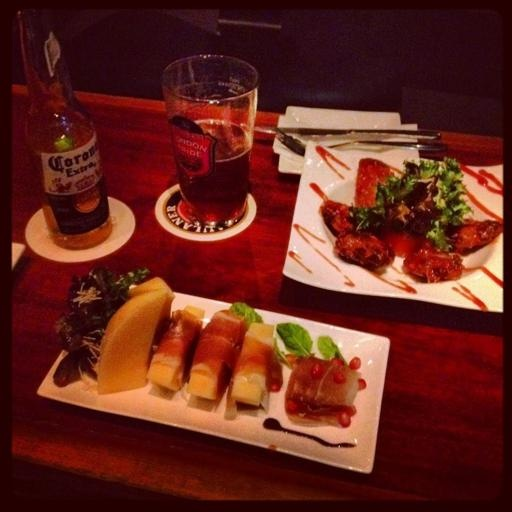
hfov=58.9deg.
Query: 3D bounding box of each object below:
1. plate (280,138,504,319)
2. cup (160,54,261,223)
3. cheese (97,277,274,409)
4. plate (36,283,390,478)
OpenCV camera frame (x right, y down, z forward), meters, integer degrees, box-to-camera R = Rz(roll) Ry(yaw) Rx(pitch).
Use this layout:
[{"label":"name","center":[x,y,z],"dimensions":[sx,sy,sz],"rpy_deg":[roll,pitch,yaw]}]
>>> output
[{"label":"plate","center":[0.420,-0.051,1.445],"dimensions":[0.655,0.498,0.540],"rpy_deg":[14,52,14]},{"label":"cup","center":[-0.128,-0.279,1.395],"dimensions":[0.216,0.557,0.221],"rpy_deg":[0,42,0]},{"label":"cheese","center":[-0.158,0.212,1.055],"dimensions":[0.366,0.146,0.238],"rpy_deg":[10,50,2]},{"label":"plate","center":[-0.065,0.259,1.060],"dimensions":[0.719,0.069,0.337],"rpy_deg":[9,45,9]}]
